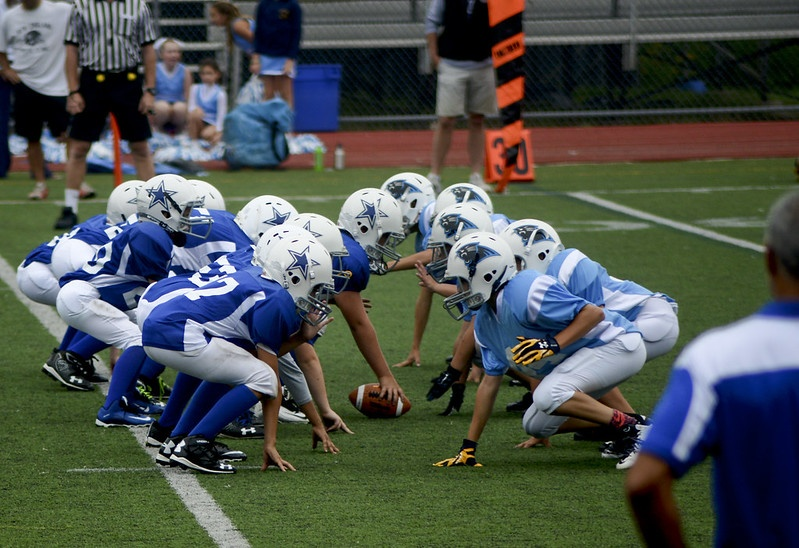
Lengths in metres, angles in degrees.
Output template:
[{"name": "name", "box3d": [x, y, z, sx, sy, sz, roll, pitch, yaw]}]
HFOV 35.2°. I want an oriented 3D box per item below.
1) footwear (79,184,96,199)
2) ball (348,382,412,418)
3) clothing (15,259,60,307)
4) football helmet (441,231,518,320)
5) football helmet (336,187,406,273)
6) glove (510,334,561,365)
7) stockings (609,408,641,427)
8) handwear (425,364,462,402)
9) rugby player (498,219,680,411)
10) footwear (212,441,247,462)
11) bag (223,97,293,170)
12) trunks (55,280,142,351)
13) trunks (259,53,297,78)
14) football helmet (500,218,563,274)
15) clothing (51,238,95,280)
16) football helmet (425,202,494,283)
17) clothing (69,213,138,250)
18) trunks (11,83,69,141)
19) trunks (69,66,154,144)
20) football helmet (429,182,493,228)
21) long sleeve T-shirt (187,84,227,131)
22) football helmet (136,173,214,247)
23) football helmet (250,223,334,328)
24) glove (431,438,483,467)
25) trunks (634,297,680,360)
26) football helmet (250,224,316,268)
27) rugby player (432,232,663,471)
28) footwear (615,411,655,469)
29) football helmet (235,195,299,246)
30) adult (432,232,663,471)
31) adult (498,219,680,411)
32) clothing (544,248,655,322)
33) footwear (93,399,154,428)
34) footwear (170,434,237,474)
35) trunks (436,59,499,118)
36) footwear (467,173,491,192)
[{"name": "footwear", "box3d": [-3.197, -0.841, 12.847, 0.151, 0.182, 0.406, -5, 4, -24]}, {"name": "ball", "box3d": [-0.121, 0.777, 7.756, 0.399, 0.239, 0.219, 7, 17, 1]}, {"name": "clothing", "box3d": [-2.362, 0.052, 8.204, 0.293, 0.124, 0.287, 21, -1, -43]}, {"name": "football helmet", "box3d": [0.477, -0.007, 7.115, 0.488, 0.463, 0.368, -8, 0, 6]}, {"name": "football helmet", "box3d": [-0.204, -0.275, 8.064, 0.537, 0.525, 0.406, 11, -2, -3]}, {"name": "glove", "box3d": [0.732, 0.403, 6.814, 0.218, 0.144, 0.076, -18, -29, 1]}, {"name": "stockings", "box3d": [1.293, 0.804, 7.047, 0.214, 0.086, 0.077, 0, 9, -8]}, {"name": "handwear", "box3d": [0.273, 0.667, 7.717, 0.154, 0.252, 0.091, 49, 2, 13]}, {"name": "rugby player", "box3d": [1.107, 0.054, 7.619, 1.148, 0.481, 0.676, 22, 8, -6]}, {"name": "footwear", "box3d": [-0.959, 1.006, 7.112, 0.221, 0.091, 0.082, 5, 2, -1]}, {"name": "bag", "box3d": [-1.738, -1.601, 15.044, 0.927, 0.915, 0.553, -9, -16, 31]}, {"name": "trunks", "box3d": [-1.901, 0.355, 7.741, 0.498, 0.160, 0.442, 31, 12, -21]}, {"name": "trunks", "box3d": [-1.295, -2.280, 13.319, 0.398, 0.273, 0.219, 1, -5, 7]}, {"name": "football helmet", "box3d": [0.827, -0.169, 7.598, 0.400, 0.338, 0.317, -2, 11, 6]}, {"name": "clothing", "box3d": [-2.093, -0.110, 8.004, 0.293, 0.128, 0.221, -11, 22, -17]}, {"name": "football helmet", "box3d": [0.387, -0.209, 7.774, 0.475, 0.455, 0.359, -8, -4, 21]}, {"name": "clothing", "box3d": [-1.902, -0.267, 8.095, 0.399, 0.139, 0.255, -16, 24, 0]}, {"name": "trunks", "box3d": [-3.391, -1.553, 11.884, 0.566, 0.427, 0.731, 4, -32, -11]}, {"name": "trunks", "box3d": [-2.385, -1.402, 10.414, 0.699, 0.605, 0.257, -3, 13, -25]}, {"name": "football helmet", "box3d": [0.421, -0.471, 8.296, 0.319, 0.251, 0.230, -8, 22, -9]}, {"name": "long sleeve T-shirt", "box3d": [-2.280, -1.980, 14.898, 0.404, 0.490, 0.302, 9, 39, 6]}, {"name": "football helmet", "box3d": [-1.389, -0.420, 7.741, 0.494, 0.393, 0.359, 5, 2, -10]}, {"name": "football helmet", "box3d": [-0.576, -0.049, 7.070, 0.551, 0.469, 0.420, 20, 13, -21]}, {"name": "glove", "box3d": [0.344, 1.003, 7.019, 0.319, 0.180, 0.114, 3, -6, 4]}, {"name": "trunks", "box3d": [1.528, 0.314, 7.414, 0.336, 0.330, 0.134, 0, -4, 40]}, {"name": "football helmet", "box3d": [-0.654, -0.165, 7.056, 0.298, 0.227, 0.217, 10, 0, 1]}, {"name": "rugby player", "box3d": [0.756, 0.419, 7.163, 1.355, 1.310, 0.850, -5, -13, 14]}, {"name": "footwear", "box3d": [1.318, 0.869, 7.006, 0.203, 0.328, 0.106, -12, 20, 26]}, {"name": "football helmet", "box3d": [-0.875, -0.406, 7.917, 0.406, 0.330, 0.287, -4, 40, -16]}, {"name": "adult", "box3d": [0.766, 0.417, 7.151, 1.336, 1.295, 0.880, -5, -13, 11]}, {"name": "adult", "box3d": [1.132, 0.063, 7.615, 1.156, 0.490, 0.674, 22, 10, 2]}, {"name": "clothing", "box3d": [1.152, 0.052, 7.423, 0.565, 0.217, 0.412, 26, 8, -10]}, {"name": "footwear", "box3d": [-1.613, 0.835, 7.544, 0.478, 0.207, 0.153, 0, 2, -12]}, {"name": "footwear", "box3d": [-1.088, 0.992, 6.901, 0.411, 0.191, 0.141, 19, -10, -39]}, {"name": "trunks", "box3d": [0.597, -1.744, 11.874, 0.659, 0.557, 0.358, -3, 7, -21]}, {"name": "footwear", "box3d": [0.745, -0.899, 12.143, 0.119, 0.140, 0.344, -8, 15, -18]}]
